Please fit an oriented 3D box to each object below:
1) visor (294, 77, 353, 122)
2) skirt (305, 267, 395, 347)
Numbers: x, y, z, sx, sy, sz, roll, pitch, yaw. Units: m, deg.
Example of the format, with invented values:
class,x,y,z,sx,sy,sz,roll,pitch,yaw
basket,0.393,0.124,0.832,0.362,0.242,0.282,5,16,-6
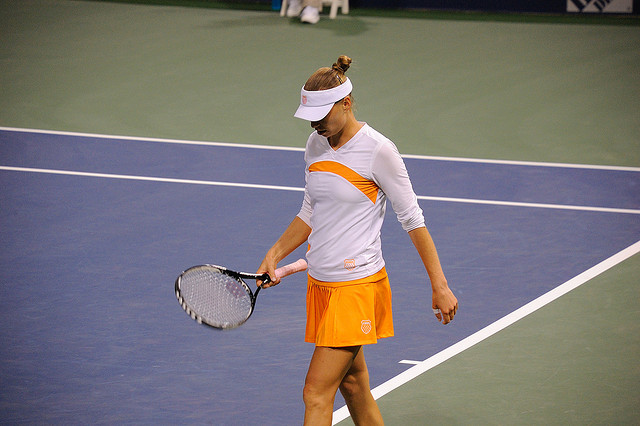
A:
class,x,y,z,sx,sy,sz,roll,pitch,yaw
visor,0.019,-0.822,5.111,0.390,0.245,0.341,4,45,-9
skirt,0.215,0.688,5.498,0.659,0.851,0.575,0,88,-10
